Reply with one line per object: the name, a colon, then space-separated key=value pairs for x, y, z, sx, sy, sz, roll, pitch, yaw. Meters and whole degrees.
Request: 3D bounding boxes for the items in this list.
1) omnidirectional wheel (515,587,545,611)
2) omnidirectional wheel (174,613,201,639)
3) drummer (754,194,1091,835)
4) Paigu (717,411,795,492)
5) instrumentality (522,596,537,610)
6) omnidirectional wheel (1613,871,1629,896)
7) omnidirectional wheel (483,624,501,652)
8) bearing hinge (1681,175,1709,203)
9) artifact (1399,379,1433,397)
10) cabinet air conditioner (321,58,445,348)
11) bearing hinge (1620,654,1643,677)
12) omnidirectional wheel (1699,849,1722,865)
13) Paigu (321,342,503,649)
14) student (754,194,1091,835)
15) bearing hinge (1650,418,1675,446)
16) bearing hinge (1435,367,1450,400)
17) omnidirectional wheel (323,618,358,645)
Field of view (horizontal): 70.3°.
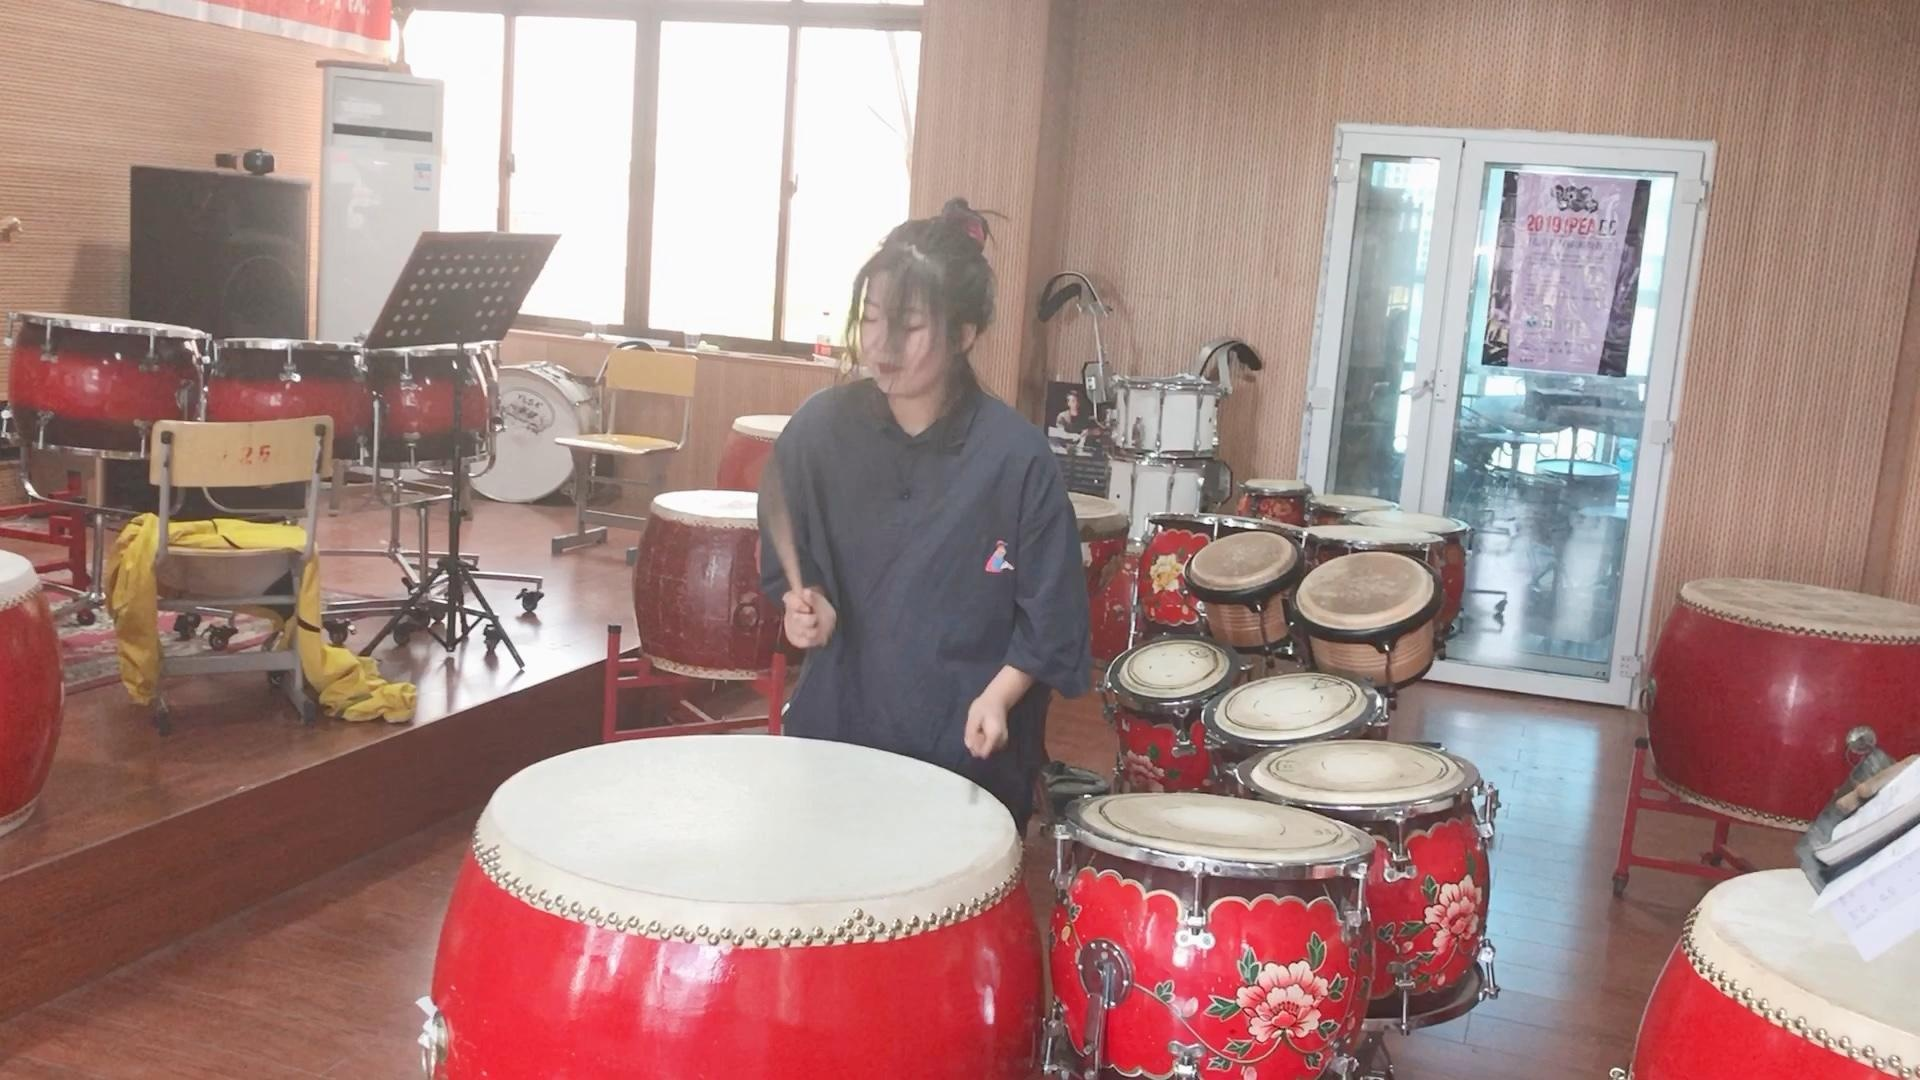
omnidirectional wheel: x=-2.183 y=0.299 z=6.895 sx=0.119 sy=0.105 sz=0.117 roll=2 pitch=-2 yaw=0
omnidirectional wheel: x=-3.366 y=0.374 z=5.936 sx=0.072 sy=0.104 sz=0.104 roll=5 pitch=11 yaw=2
drummer: x=-0.090 y=-0.068 z=3.740 sx=0.914 sy=1.697 sz=0.352 roll=5 pitch=9 yaw=14
Paigu: x=-1.212 y=-0.467 z=7.657 sx=0.370 sy=0.339 sz=0.356 roll=11 pitch=12 yaw=-18
instrumentality: x=-2.166 y=0.319 z=6.872 sx=0.069 sy=0.051 sz=0.073 roll=-1 pitch=-6 yaw=10
omnidirectional wheel: x=2.782 y=1.456 z=5.752 sx=0.066 sy=0.100 sz=0.107 roll=0 pitch=-5 yaw=5
omnidirectional wheel: x=-2.185 y=0.454 z=6.370 sx=0.067 sy=0.135 sz=0.146 roll=0 pitch=8 yaw=-19
bearing hinge: x=3.917 y=-1.877 z=7.283 sx=0.139 sy=0.123 sz=0.032 roll=4 pitch=-2 yaw=8
artifact: x=2.572 y=-0.863 z=7.694 sx=0.083 sy=0.034 sz=0.127 roll=-19 pitch=3 yaw=-31
cabinet air conditioner: x=-4.134 y=-2.175 z=9.338 sx=0.755 sy=2.069 sz=0.943 roll=16 pitch=17 yaw=30
bearing hinge: x=3.707 y=0.700 z=7.569 sx=0.124 sy=0.110 sz=0.029 roll=5 pitch=-2 yaw=7
omnidirectional wheel: x=3.192 y=1.360 z=5.803 sx=0.043 sy=0.034 sz=0.066 roll=2 pitch=-3 yaw=-8
Paigu: x=-2.717 y=-0.210 z=6.712 sx=0.873 sy=1.749 sz=0.620 roll=2 pitch=1 yaw=35
student: x=-0.156 y=0.367 z=3.942 sx=1.079 sy=2.519 sz=0.844 roll=9 pitch=21 yaw=10
bearing hinge: x=3.807 y=-0.590 z=7.430 sx=0.145 sy=0.127 sz=0.035 roll=5 pitch=0 yaw=11
bearing hinge: x=2.693 y=-0.873 z=7.622 sx=0.092 sy=0.167 sz=0.041 roll=3 pitch=4 yaw=9
omnidirectional wheel: x=-2.876 y=0.425 z=6.302 sx=0.130 sy=0.137 sz=0.098 roll=1 pitch=5 yaw=-5
